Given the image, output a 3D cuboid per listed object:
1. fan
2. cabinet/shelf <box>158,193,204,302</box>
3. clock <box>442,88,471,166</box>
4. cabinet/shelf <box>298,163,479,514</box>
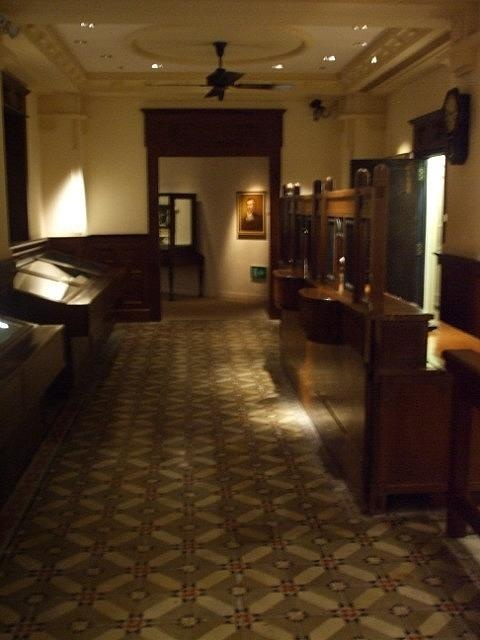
[{"bbox_3d":[-0.260,-3.298,6.321,1.479,0.666,1.483,-3,13,-11],"label":"fan"},{"bbox_3d":[-1.487,-1.867,12.008,0.718,2.630,1.258,6,11,35],"label":"cabinet/shelf"},{"bbox_3d":[2.120,-1.880,4.658,0.219,0.804,0.560,3,9,18],"label":"clock"},{"bbox_3d":[0.802,0.072,2.985,0.494,1.950,1.808,-1,9,-8],"label":"cabinet/shelf"}]
